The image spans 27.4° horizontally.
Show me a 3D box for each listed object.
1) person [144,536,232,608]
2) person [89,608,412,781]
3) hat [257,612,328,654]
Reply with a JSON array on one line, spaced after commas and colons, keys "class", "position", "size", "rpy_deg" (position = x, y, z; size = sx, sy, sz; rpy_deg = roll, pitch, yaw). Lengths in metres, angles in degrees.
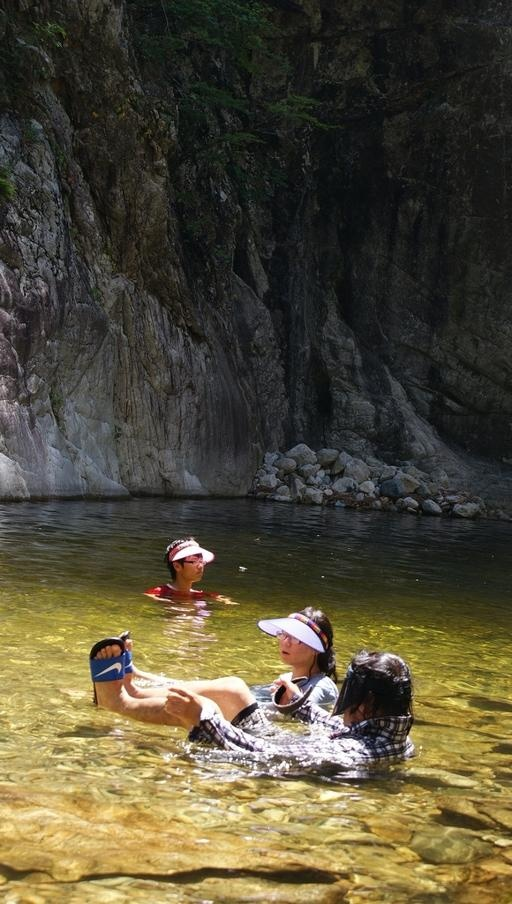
[{"class": "person", "position": [-0.555, 0.924, 8.211], "size": [0.915, 0.557, 0.371], "rpy_deg": [11, -17, -43]}, {"class": "person", "position": [0.037, 1.082, 4.588], "size": [1.029, 0.518, 0.667], "rpy_deg": [18, -3, 20]}, {"class": "hat", "position": [0.182, 0.837, 4.964], "size": [0.204, 0.077, 0.219], "rpy_deg": [23, -25, 16]}]
